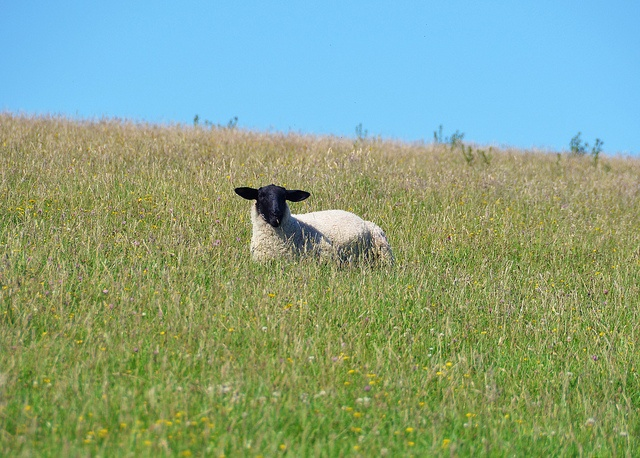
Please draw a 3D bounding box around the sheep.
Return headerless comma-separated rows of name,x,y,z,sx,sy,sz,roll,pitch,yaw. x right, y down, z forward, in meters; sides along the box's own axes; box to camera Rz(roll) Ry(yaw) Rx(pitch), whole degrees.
sheep,-0.114,0.295,11.936,1.016,1.933,2.891,-2,0,31
